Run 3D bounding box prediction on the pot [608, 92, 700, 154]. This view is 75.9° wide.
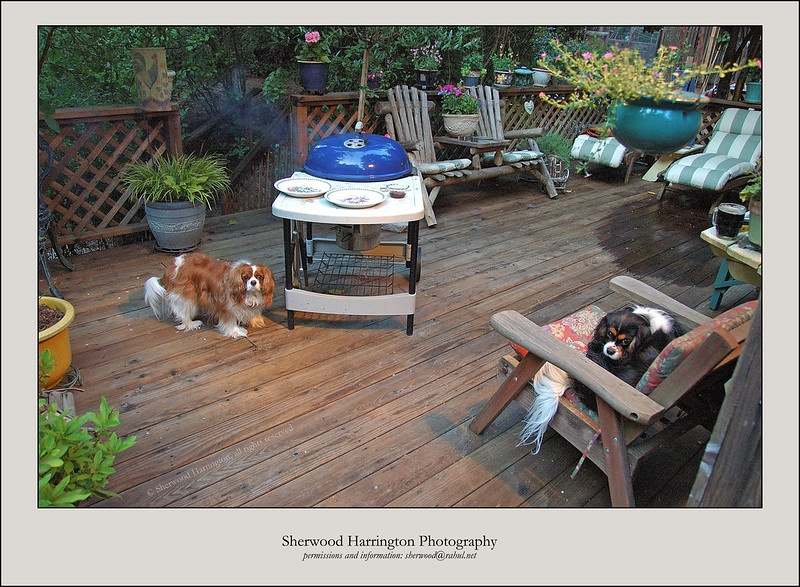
[{"bbox_3d":[0.848,-0.531,1.697,0.230,0.151,0.239,3,26,-2],"label":"pot"}]

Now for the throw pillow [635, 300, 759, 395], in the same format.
[{"bbox_3d":[1.167,0.213,1.973,0.467,0.344,0.187,-16,31,-25],"label":"throw pillow"}]

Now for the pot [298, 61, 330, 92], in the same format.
[{"bbox_3d":[-0.846,-2.087,4.976,0.282,0.206,0.267,2,36,-1],"label":"pot"}]

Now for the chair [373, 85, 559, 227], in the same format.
[{"bbox_3d":[0.733,-1.493,5.307,1.822,1.128,1.072,-18,31,-35],"label":"chair"}]

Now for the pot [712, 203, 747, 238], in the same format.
[{"bbox_3d":[2.151,-0.490,3.430,0.246,0.237,0.195,8,28,23],"label":"pot"}]

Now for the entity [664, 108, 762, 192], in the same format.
[{"bbox_3d":[3.497,-1.568,5.587,1.050,0.625,0.632,-27,36,-26],"label":"entity"}]

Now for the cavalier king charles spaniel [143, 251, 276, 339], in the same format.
[{"bbox_3d":[-1.210,0.001,3.318,0.828,0.430,0.416,7,17,9],"label":"cavalier king charles spaniel"}]

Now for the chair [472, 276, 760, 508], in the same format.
[{"bbox_3d":[0.853,0.346,2.292,0.866,0.791,0.948,-23,35,-30],"label":"chair"}]

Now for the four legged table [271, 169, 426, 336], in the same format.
[{"bbox_3d":[-0.300,-0.310,3.525,0.972,0.785,1.092,-1,25,-5],"label":"four legged table"}]

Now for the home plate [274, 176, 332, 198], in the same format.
[{"bbox_3d":[-0.584,-0.651,3.154,0.199,0.025,0.193,15,32,13],"label":"home plate"}]

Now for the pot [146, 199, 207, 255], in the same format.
[{"bbox_3d":[-1.831,-0.574,4.220,0.482,0.356,0.484,2,16,0],"label":"pot"}]

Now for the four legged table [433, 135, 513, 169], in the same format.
[{"bbox_3d":[0.786,-1.563,5.369,0.452,0.239,0.551,-24,38,-35],"label":"four legged table"}]
